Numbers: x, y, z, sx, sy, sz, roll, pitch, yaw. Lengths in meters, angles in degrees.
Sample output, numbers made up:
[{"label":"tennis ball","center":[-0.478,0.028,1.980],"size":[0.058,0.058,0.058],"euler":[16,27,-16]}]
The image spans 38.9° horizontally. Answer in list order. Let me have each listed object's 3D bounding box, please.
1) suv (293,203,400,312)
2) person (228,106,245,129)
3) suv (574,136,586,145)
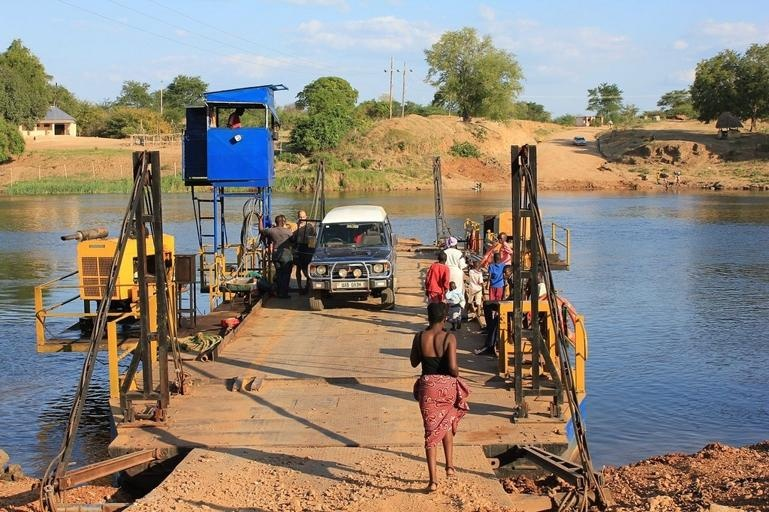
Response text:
[{"label":"suv","center":[-0.914,-0.127,34.894],"size":[2.719,2.538,5.116],"euler":[-1,13,6]},{"label":"person","center":[-5.092,-4.676,37.043],"size":[0.524,0.706,1.330],"euler":[-2,5,-7]},{"label":"suv","center":[21.361,-12.625,119.904],"size":[1.097,0.720,2.306],"euler":[0,5,1]}]
